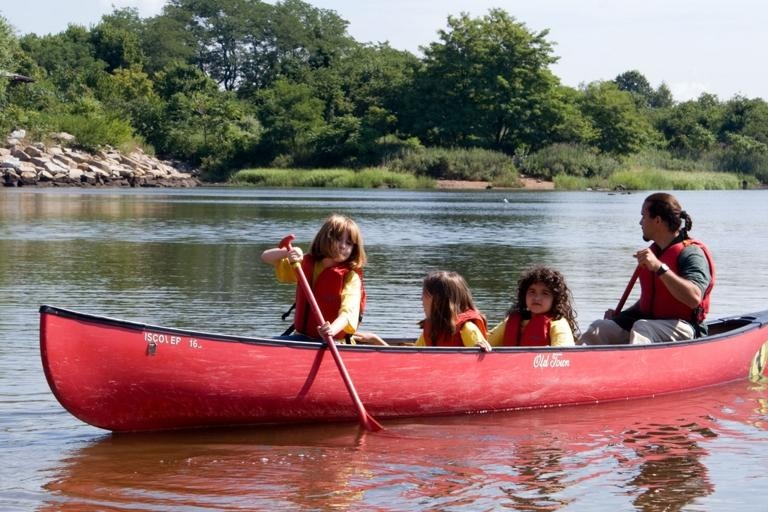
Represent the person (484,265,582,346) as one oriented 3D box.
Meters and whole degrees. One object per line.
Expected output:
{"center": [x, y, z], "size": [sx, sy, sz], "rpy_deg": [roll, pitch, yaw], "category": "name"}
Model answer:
{"center": [1.816, 0.627, 15.081], "size": [1.273, 1.144, 0.732], "rpy_deg": [2, -4, 19], "category": "person"}
